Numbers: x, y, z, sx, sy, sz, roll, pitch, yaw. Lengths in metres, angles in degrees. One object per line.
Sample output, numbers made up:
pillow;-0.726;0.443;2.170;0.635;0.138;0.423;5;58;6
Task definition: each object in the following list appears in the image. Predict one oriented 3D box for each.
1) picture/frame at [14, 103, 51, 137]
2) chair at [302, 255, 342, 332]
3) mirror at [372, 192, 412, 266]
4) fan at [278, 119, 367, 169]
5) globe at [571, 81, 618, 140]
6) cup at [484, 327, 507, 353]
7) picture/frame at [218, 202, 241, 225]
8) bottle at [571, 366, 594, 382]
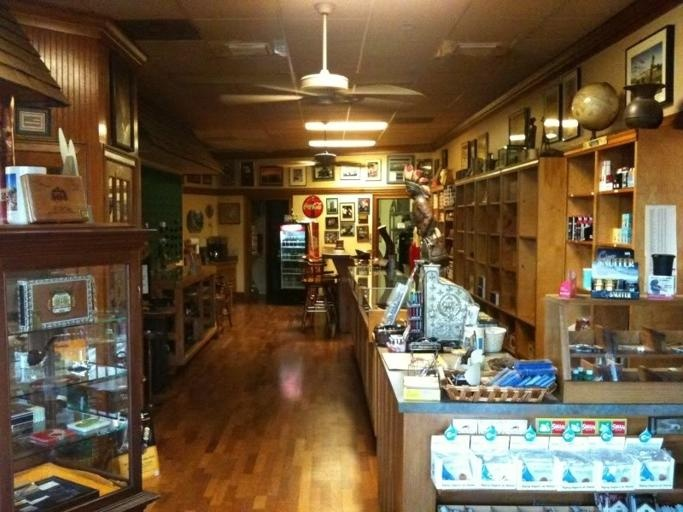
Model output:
picture/frame;-2.437;-1.072;4.274;0.268;0.262;0.027;0;-1;-23
chair;-0.345;0.679;9.659;0.443;0.835;1.260;-1;3;0
mirror;1.065;-0.627;11.710;0.800;1.423;1.582;1;7;6
fan;-0.049;-1.894;9.484;1.365;0.739;2.140;1;-1;0
globe;2.354;-1.348;5.058;0.418;0.493;0.410;-2;12;-2
cup;1.095;0.592;3.907;0.167;0.120;0.166;0;-1;0
picture/frame;-2.583;-1.030;12.572;0.516;0.504;0.055;1;1;-1
bottle;1.374;0.674;3.109;0.086;0.053;0.086;1;1;0
